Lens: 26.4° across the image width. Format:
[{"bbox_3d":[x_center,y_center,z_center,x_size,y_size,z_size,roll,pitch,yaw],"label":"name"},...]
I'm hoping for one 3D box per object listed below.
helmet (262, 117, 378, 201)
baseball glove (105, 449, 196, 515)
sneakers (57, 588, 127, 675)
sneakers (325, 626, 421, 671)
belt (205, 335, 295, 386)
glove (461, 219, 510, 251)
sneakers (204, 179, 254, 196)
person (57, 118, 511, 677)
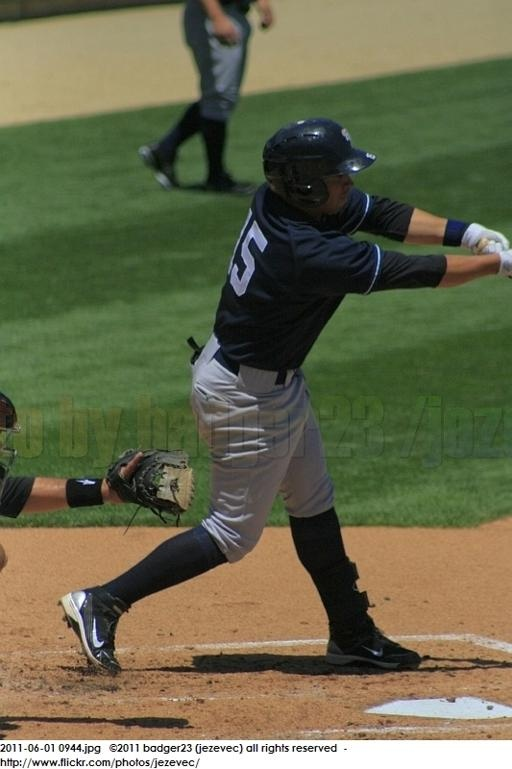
[{"bbox_3d":[0.193,-0.712,3.477,0.390,0.238,0.248,-1,19,3],"label":"helmet"},{"bbox_3d":[-0.335,0.317,3.793,0.322,0.199,0.129,4,-29,35],"label":"baseball glove"},{"bbox_3d":[-0.510,0.801,3.616,0.183,0.215,0.286,-6,19,-26],"label":"sneakers"},{"bbox_3d":[0.433,0.957,3.964,0.379,0.132,0.123,2,-2,4],"label":"sneakers"},{"bbox_3d":[-0.032,-0.056,3.621,0.225,0.102,0.191,23,11,-25],"label":"belt"},{"bbox_3d":[0.787,-0.488,3.754,0.158,0.061,0.107,18,37,0],"label":"glove"},{"bbox_3d":[-0.195,-1.367,7.634,0.398,0.136,0.116,-4,14,-12],"label":"sneakers"},{"bbox_3d":[0.091,0.069,3.708,1.487,1.883,0.753,0,19,-10],"label":"person"}]
